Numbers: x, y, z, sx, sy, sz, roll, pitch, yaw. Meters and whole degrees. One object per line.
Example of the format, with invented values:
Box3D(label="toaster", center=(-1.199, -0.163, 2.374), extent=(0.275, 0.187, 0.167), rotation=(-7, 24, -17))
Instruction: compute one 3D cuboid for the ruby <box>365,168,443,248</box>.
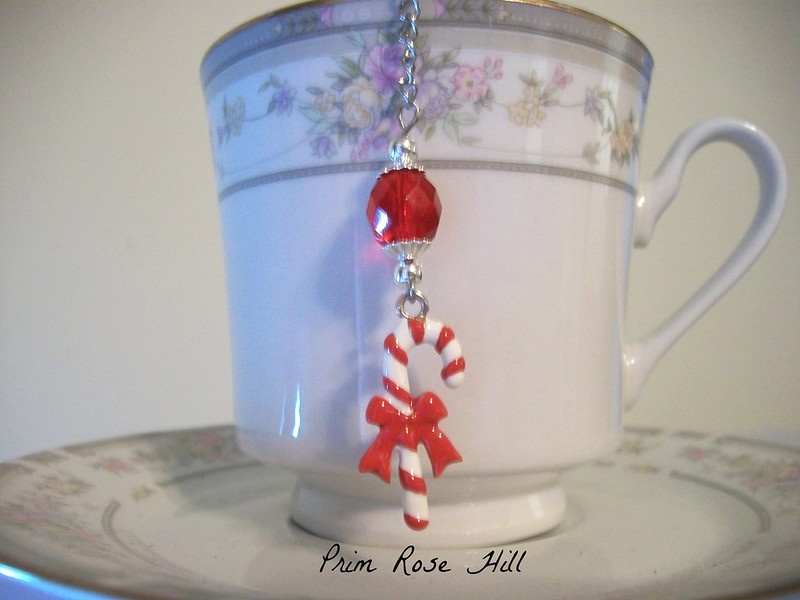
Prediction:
Box3D(label="ruby", center=(0.003, -0.075, 0.650), extent=(0.055, 0.063, 0.061), rotation=(-1, -4, -7))
